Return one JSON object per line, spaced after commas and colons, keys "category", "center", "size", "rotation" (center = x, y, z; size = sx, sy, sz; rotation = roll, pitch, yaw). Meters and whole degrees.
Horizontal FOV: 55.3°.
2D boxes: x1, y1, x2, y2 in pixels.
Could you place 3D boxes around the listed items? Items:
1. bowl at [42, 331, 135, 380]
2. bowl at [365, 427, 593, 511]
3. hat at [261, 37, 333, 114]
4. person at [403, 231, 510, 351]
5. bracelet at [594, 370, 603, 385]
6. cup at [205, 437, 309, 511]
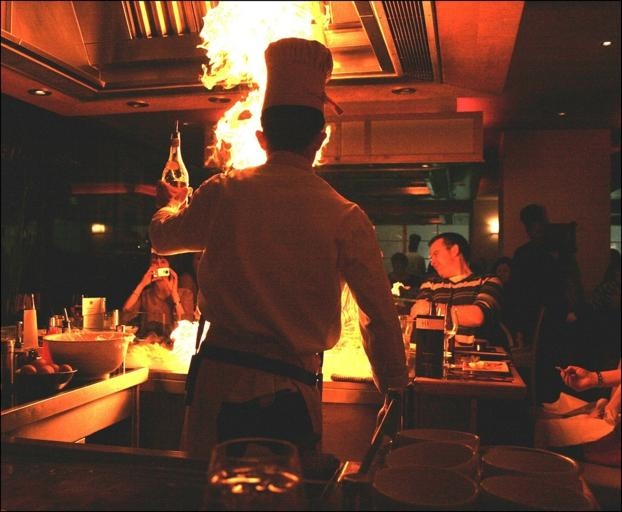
{"category": "bowl", "center": [-0.804, 0.349, 2.109], "size": [0.352, 0.146, 0.350], "rotation": [1, -1, 0]}
{"category": "bowl", "center": [0.229, 0.305, 0.836], "size": [0.300, 0.061, 0.178], "rotation": [-3, 1, -6]}
{"category": "hat", "center": [-0.015, -0.402, 1.400], "size": [0.177, 0.166, 0.159], "rotation": [0, -1, 8]}
{"category": "person", "center": [0.887, 0.261, 3.538], "size": [0.457, 0.810, 0.484], "rotation": [-7, 7, -22]}
{"category": "bracelet", "center": [0.407, 0.171, 0.837], "size": [0.006, 0.022, 0.021], "rotation": [-3, 1, 5]}
{"category": "cup", "center": [-0.069, 0.260, 0.756], "size": [0.097, 0.092, 0.098], "rotation": [2, -13, 0]}
